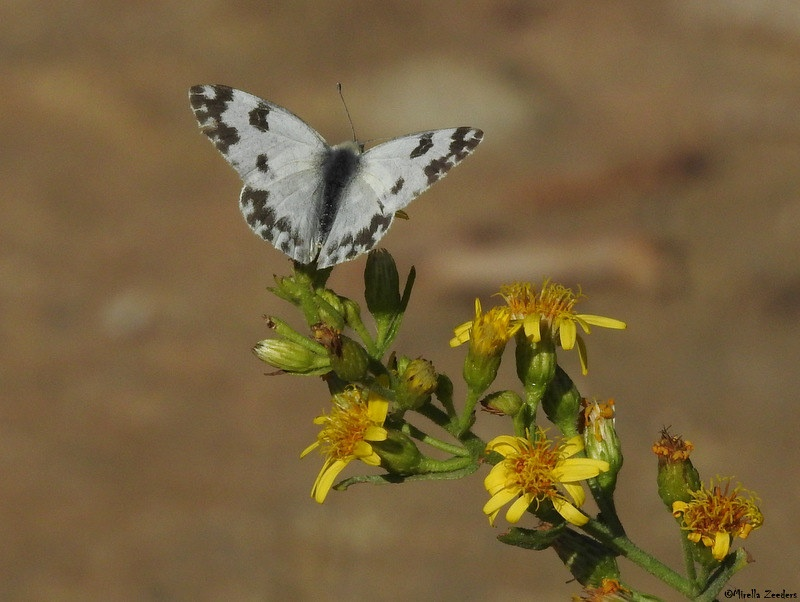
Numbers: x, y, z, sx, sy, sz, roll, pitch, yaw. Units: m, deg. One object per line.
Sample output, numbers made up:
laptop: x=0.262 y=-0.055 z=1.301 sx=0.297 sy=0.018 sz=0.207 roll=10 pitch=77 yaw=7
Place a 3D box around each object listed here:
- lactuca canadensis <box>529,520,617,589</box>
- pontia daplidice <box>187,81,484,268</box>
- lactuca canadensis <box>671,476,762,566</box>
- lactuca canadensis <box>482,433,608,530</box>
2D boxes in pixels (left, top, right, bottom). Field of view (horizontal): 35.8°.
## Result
lactuca canadensis: x=0.637 y=0.928 z=4.291 sx=0.117 sy=0.316 sz=0.266 roll=-55 pitch=-20 yaw=0
pontia daplidice: x=-0.263 y=-0.423 z=4.361 sx=0.992 sy=0.624 sz=0.358 roll=2 pitch=-46 yaw=-3
lactuca canadensis: x=1.058 y=0.731 z=4.133 sx=0.247 sy=0.202 sz=0.211 roll=-30 pitch=-54 yaw=24
lactuca canadensis: x=0.481 y=0.586 z=4.138 sx=0.405 sy=0.315 sz=0.198 roll=5 pitch=-47 yaw=-5
